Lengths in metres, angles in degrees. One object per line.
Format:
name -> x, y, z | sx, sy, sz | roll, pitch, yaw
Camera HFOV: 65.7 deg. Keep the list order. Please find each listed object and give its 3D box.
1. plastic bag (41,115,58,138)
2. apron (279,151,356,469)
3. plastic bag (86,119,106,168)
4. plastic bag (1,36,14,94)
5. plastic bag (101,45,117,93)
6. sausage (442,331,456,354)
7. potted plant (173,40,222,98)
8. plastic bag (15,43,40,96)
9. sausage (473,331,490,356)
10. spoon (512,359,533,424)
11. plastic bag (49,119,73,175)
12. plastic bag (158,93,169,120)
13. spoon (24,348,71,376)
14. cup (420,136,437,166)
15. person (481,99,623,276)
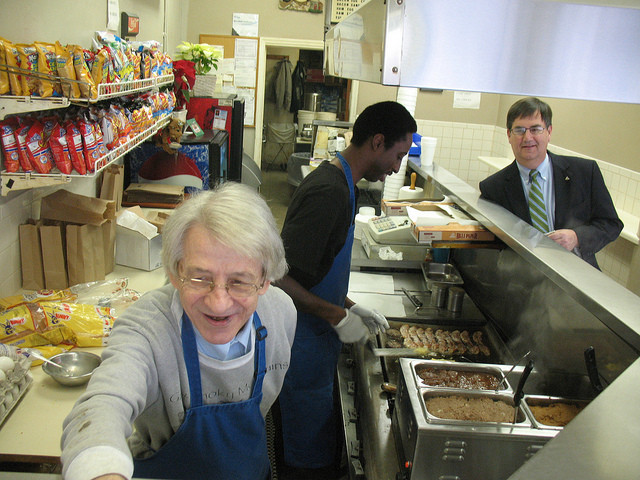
plastic bag -> -1.159, -0.483, 2.116 | 0.018, 0.108, 0.088 | -9, 15, 19
apron -> -0.010, 0.354, 2.443 | 0.355, 1.634, 0.707 | 5, 21, 15
plastic bag -> -1.010, -0.469, 2.279 | 0.041, 0.158, 0.117 | -7, 11, -1
plastic bag -> -1.187, -0.659, 1.851 | 0.039, 0.174, 0.119 | -4, 21, -22
plastic bag -> -0.948, -0.787, 2.218 | 0.033, 0.153, 0.159 | -5, 19, -16
sausage -> 0.643, 0.504, 2.448 | 0.046, 0.029, 0.165 | -16, 14, 15
potted plant -> -1.141, -1.640, 4.890 | 0.454, 0.496, 0.480 | 7, 8, 24
plastic bag -> -1.123, -0.655, 1.905 | 0.076, 0.190, 0.197 | -9, 21, -28
sausage -> 0.800, 0.511, 2.449 | 0.032, 0.016, 0.103 | -2, 26, -9
spoon -> 0.668, 0.478, 1.628 | 0.037, 0.235, 0.132 | 9, 20, 24
plastic bag -> -1.102, -0.386, 2.100 | 0.061, 0.183, 0.157 | -14, 42, -6
plastic bag -> -1.102, -0.947, 3.492 | 0.053, 0.172, 0.133 | 0, -7, 4
spoon -> -1.104, 0.497, 1.995 | 0.139, 0.021, 0.025 | 29, 32, -10
cup -> 0.847, -0.695, 3.881 | 0.109, 0.208, 0.097 | 5, 18, 12
person -> 1.409, -0.331, 3.001 | 0.575, 0.977, 0.740 | -15, 24, -40
